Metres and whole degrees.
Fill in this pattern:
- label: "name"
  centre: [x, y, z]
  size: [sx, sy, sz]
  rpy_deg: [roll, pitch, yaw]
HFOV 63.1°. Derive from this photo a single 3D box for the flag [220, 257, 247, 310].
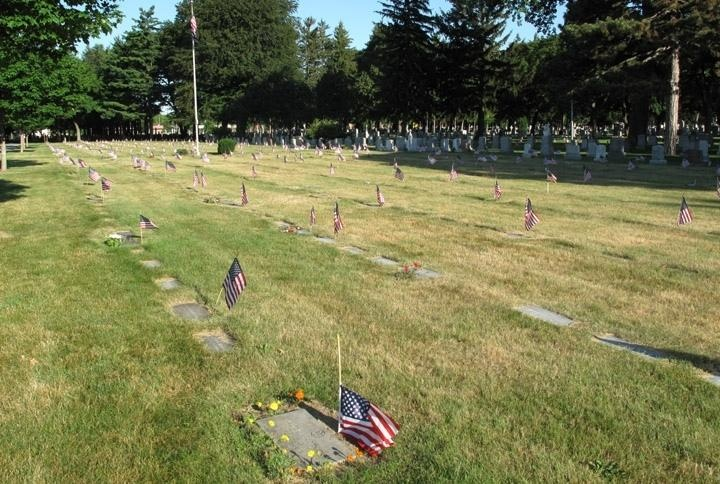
- label: "flag"
  centre: [-2.578, 0.875, 11.946]
  size: [0.552, 1.478, 0.110]
  rpy_deg: [-11, 37, -34]
